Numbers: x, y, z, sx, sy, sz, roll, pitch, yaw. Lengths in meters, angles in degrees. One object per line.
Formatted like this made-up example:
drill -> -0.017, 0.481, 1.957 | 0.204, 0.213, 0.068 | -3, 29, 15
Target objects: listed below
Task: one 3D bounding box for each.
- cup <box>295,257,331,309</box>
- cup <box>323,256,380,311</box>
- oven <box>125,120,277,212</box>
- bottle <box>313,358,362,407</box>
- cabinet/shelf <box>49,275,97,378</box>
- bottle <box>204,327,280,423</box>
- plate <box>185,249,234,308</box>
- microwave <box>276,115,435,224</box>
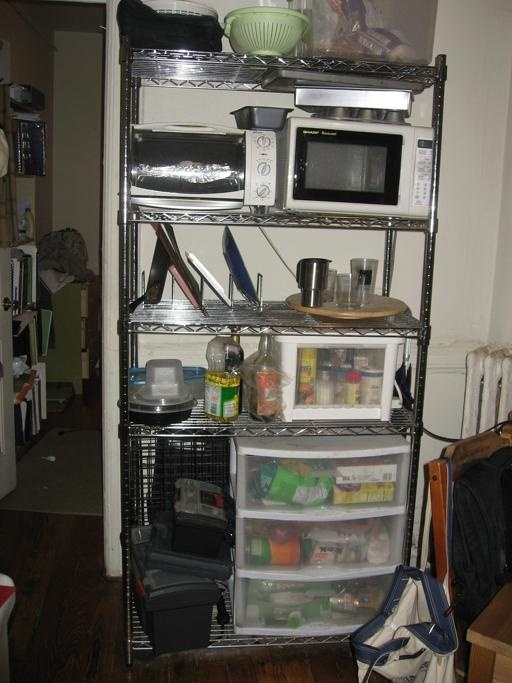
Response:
cup -> 0.132, -0.157, 1.660 | 0.127, 0.163, 0.095 | 1, 15, 1
cup -> 0.266, -0.174, 1.804 | 0.156, 0.164, 0.142 | 5, 7, -1
oven -> -0.127, -0.471, 1.602 | 0.363, 0.222, 0.216 | 0, 29, -1
bottle -> 0.233, 0.121, 1.807 | 0.140, 0.143, 0.095 | 0, 9, -9
cabinet/shelf -> -1.306, -0.128, 4.303 | 0.331, 0.636, 0.633 | 2, 12, -6
bottle -> -0.038, 0.102, 1.734 | 0.257, 0.368, 0.130 | 0, 4, -12
plate -> -0.132, -0.179, 1.687 | 0.121, 0.138, 0.253 | 2, 10, -6
microwave -> 0.263, -0.446, 1.556 | 0.346, 0.220, 0.239 | 2, 15, -11
